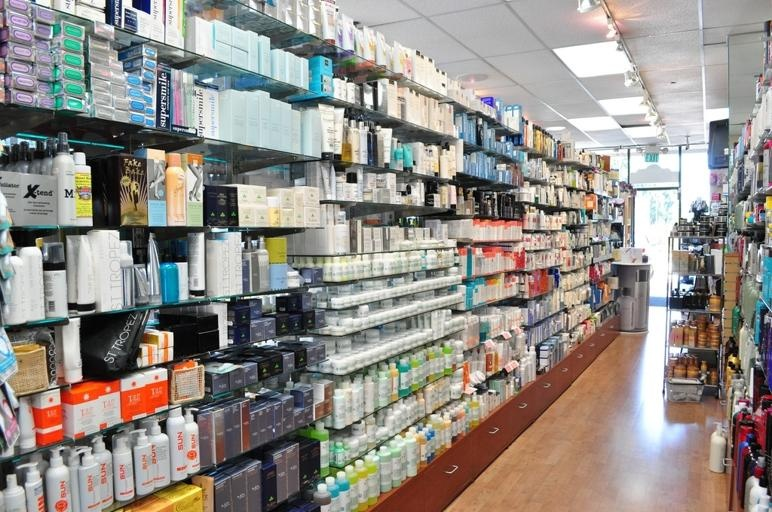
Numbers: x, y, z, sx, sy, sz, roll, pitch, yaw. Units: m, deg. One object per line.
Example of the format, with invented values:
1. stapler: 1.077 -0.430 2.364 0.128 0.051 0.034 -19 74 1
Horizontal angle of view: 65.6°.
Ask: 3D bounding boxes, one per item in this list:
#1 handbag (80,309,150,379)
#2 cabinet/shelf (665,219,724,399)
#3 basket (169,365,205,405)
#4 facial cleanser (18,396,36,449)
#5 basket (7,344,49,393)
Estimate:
1. handbag: -1.378 0.458 3.024 0.322 0.341 0.097 -2 -17 4
2. cabinet/shelf: 3.920 0.452 7.633 0.884 2.467 0.818 -1 6 24
3. basket: -1.119 0.702 3.271 0.224 0.186 0.174 2 -7 -41
4. facial cleanser: -1.671 0.786 2.779 0.033 0.246 0.073 3 7 33
5. basket: -1.659 0.525 2.770 0.154 0.225 0.092 -5 7 -33
